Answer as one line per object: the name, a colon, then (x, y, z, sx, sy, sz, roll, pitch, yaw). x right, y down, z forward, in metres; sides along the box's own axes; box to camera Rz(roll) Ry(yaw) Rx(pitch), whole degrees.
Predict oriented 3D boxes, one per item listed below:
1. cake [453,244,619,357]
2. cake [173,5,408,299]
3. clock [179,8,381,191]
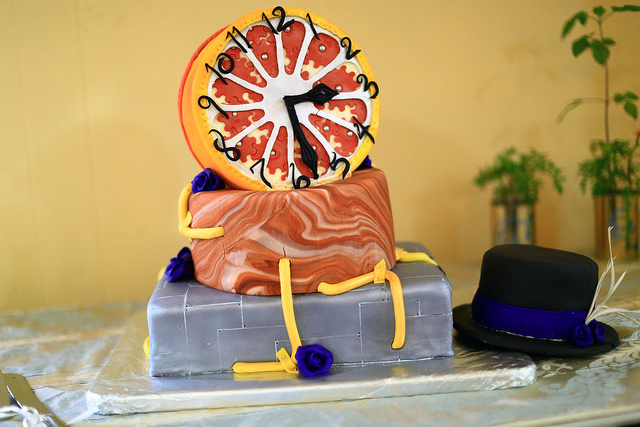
cake: (0.801, 0.291, 2.615, 0.608, 0.325, 0.658, 2, 7, -13)
cake: (-0.183, -0.201, 2.846, 0.975, 1.060, 0.972, -4, 2, -22)
clock: (-0.162, -0.390, 2.470, 0.651, 0.648, 0.213, -7, 8, -13)
